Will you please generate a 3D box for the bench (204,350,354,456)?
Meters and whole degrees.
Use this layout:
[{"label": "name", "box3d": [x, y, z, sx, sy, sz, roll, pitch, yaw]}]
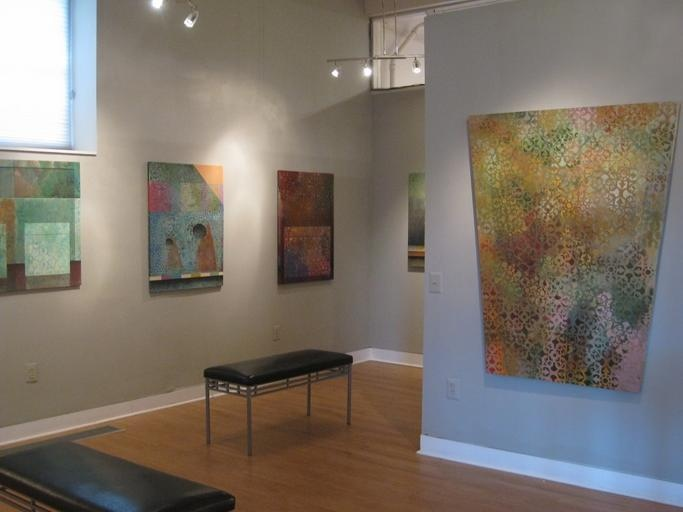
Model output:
[{"label": "bench", "box3d": [-0.533, 1.225, 4.538, 1.262, 0.653, 0.583, -2, 4, -38]}]
